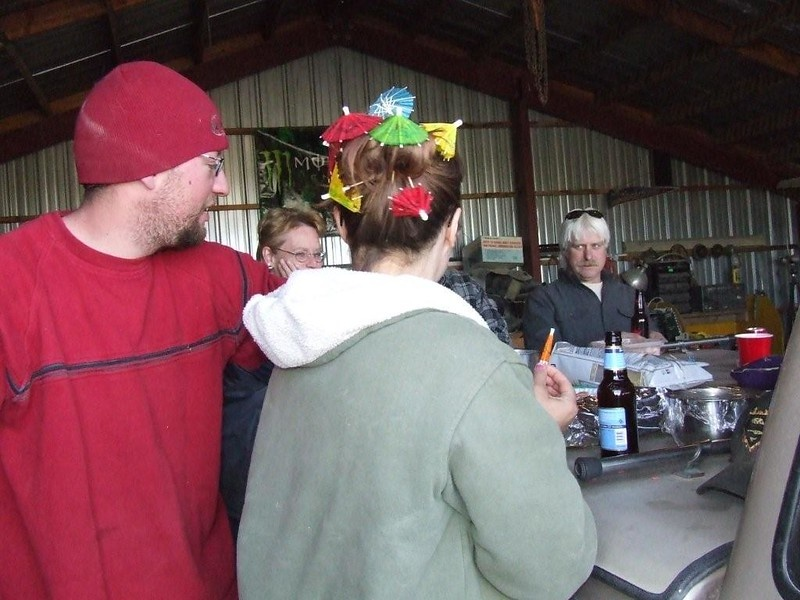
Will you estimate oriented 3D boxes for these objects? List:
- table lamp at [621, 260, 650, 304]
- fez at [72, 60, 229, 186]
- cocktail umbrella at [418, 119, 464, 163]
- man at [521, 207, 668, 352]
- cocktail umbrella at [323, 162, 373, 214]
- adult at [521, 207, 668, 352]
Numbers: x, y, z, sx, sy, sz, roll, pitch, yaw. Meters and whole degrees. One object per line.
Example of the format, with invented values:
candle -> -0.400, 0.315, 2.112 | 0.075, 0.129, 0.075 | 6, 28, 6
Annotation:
table lamp -> 2.092, -0.168, 5.931 | 0.220, 0.383, 0.320 | 9, 8, 2
fez -> -0.583, -0.442, 1.553 | 0.280, 0.249, 0.270 | -10, 25, -25
cocktail umbrella -> 0.079, -0.295, 1.315 | 0.071, 0.080, 0.083 | 24, 41, 36
man -> 0.899, -0.055, 3.665 | 0.665, 1.069, 0.663 | 0, 0, -9
cocktail umbrella -> -0.094, -0.211, 1.257 | 0.068, 0.066, 0.055 | -19, 30, 35
adult -> 0.941, -0.046, 3.680 | 0.665, 1.069, 0.663 | 0, 0, -9
